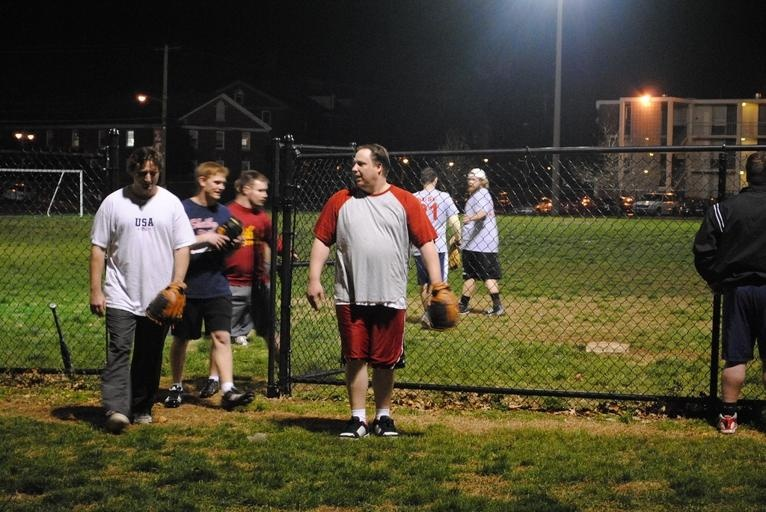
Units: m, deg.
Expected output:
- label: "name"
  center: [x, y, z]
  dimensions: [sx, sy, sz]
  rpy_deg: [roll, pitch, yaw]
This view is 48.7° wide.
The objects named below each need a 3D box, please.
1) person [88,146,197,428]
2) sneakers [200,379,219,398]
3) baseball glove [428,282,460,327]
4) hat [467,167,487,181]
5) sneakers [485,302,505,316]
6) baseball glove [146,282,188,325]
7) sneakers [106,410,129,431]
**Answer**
- label: "person"
  center: [-2.582, 0.306, 8.828]
  dimensions: [1.093, 2.818, 1.522]
  rpy_deg: [8, 12, 14]
- label: "sneakers"
  center: [-2.001, 1.531, 9.839]
  dimensions: [0.125, 0.143, 0.323]
  rpy_deg: [1, 0, 8]
- label: "baseball glove"
  center: [0.634, 0.565, 8.737]
  dimensions: [0.300, 0.533, 0.374]
  rpy_deg: [-2, -21, 6]
- label: "hat"
  center: [1.480, -1.244, 13.233]
  dimensions: [0.178, 0.201, 0.249]
  rpy_deg: [18, 26, 31]
- label: "sneakers"
  center: [1.796, 0.876, 13.830]
  dimensions: [0.406, 0.278, 0.139]
  rpy_deg: [1, 6, 17]
- label: "baseball glove"
  center: [-2.183, 0.494, 8.686]
  dimensions: [0.335, 0.427, 0.349]
  rpy_deg: [29, 45, 12]
- label: "sneakers"
  center: [-2.690, 1.689, 8.597]
  dimensions: [0.209, 0.232, 0.150]
  rpy_deg: [-6, 12, -30]
